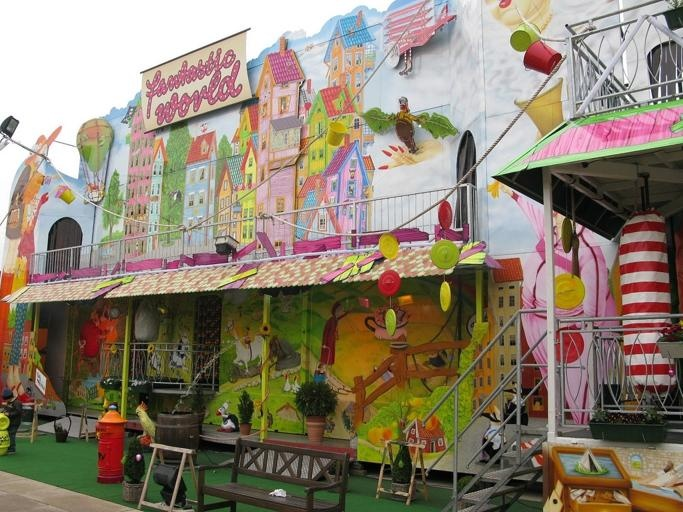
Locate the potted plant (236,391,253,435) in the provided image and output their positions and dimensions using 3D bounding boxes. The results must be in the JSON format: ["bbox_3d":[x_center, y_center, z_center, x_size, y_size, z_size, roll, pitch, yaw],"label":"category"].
[{"bbox_3d":[-2.280,3.718,17.438,0.383,0.996,0.473,1,-13,-1],"label":"potted plant"}]

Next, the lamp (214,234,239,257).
[{"bbox_3d":[-2.718,-0.232,17.250,0.491,0.378,0.550,-2,-14,10],"label":"lamp"}]

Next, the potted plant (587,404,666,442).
[{"bbox_3d":[3.781,2.234,9.708,0.715,0.274,0.501,-4,-9,23],"label":"potted plant"}]

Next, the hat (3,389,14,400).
[{"bbox_3d":[-8.110,3.374,17.925,0.215,0.256,0.283,-5,-3,-38],"label":"hat"}]

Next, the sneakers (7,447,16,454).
[{"bbox_3d":[-7.417,4.392,16.622,0.097,0.145,0.183,-8,-16,33],"label":"sneakers"}]

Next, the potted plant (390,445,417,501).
[{"bbox_3d":[1.128,3.979,13.555,0.408,1.059,0.743,0,-13,4],"label":"potted plant"}]

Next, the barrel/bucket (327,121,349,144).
[{"bbox_3d":[-0.089,-2.101,12.307,0.274,0.467,0.442,1,-13,-2],"label":"barrel/bucket"}]

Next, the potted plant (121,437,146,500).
[{"bbox_3d":[-3.688,3.790,13.305,0.472,1.261,0.399,-6,-18,-10],"label":"potted plant"}]

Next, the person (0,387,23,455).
[{"bbox_3d":[-7.867,3.870,17.503,0.492,1.518,2.135,6,-15,-23],"label":"person"}]

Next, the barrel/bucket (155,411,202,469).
[{"bbox_3d":[-3.431,3.916,15.728,0.948,1.048,1.015,0,-8,0],"label":"barrel/bucket"}]

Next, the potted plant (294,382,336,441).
[{"bbox_3d":[-0.558,3.487,16.458,1.053,1.388,1.067,2,-15,-4],"label":"potted plant"}]

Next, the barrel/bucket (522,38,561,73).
[{"bbox_3d":[2.859,-2.820,10.584,0.471,0.421,0.497,-30,-37,-26],"label":"barrel/bucket"}]
